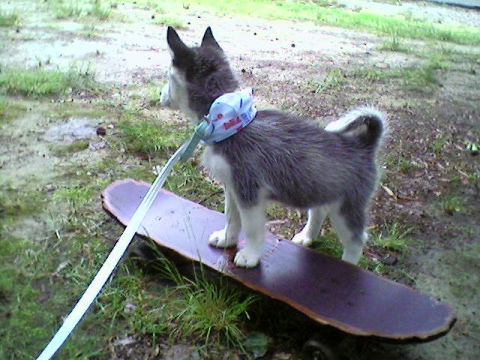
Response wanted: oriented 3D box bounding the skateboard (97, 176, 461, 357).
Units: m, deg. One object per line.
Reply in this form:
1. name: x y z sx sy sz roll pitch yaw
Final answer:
1. skateboard: 0.208 0.582 2.658 1.704 0.277 0.444 22 50 21
